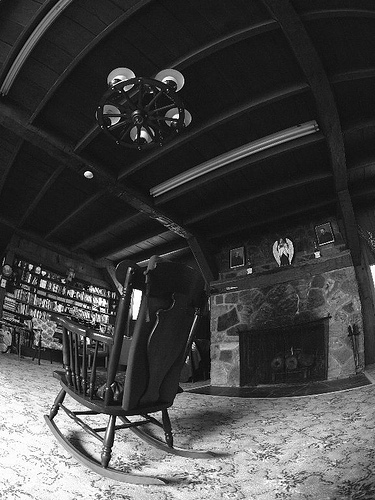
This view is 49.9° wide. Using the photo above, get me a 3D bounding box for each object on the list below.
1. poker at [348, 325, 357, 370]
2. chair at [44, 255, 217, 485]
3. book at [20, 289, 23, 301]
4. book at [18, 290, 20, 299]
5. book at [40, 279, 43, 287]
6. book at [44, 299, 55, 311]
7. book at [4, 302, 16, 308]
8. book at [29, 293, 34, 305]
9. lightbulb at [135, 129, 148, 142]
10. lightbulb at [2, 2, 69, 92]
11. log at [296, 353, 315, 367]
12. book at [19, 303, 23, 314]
[{"bbox_3d":[1.935,1.047,4.746,0.037,0.312,0.046,-12,-7,41],"label":"poker"},{"bbox_3d":[-0.331,0.680,2.394,0.927,1.103,0.746,-6,-13,44],"label":"chair"},{"bbox_3d":[-2.796,0.751,6.808,0.043,0.195,0.075,4,-13,-7],"label":"book"},{"bbox_3d":[-2.821,0.743,6.759,0.029,0.149,0.031,-6,-16,32],"label":"book"},{"bbox_3d":[-2.615,0.583,7.221,0.037,0.132,0.067,-2,-14,17],"label":"book"},{"bbox_3d":[-2.454,0.976,7.142,0.117,0.182,0.202,-10,-18,38],"label":"book"},{"bbox_3d":[-2.882,0.893,6.562,0.025,0.076,0.217,-5,-14,27],"label":"book"},{"bbox_3d":[-2.680,0.848,6.936,0.075,0.183,0.098,-10,-17,41],"label":"book"},{"bbox_3d":[-0.416,-1.069,3.741,0.118,0.101,0.112,4,7,-17],"label":"lightbulb"},{"bbox_3d":[-1.315,-1.749,3.442,0.463,0.463,0.205,7,-1,-32],"label":"lightbulb"},{"bbox_3d":[1.488,1.383,5.064,0.054,0.160,0.238,12,-16,-37],"label":"log"},{"bbox_3d":[-2.767,0.973,6.713,0.080,0.178,0.040,8,-15,-25],"label":"book"}]
